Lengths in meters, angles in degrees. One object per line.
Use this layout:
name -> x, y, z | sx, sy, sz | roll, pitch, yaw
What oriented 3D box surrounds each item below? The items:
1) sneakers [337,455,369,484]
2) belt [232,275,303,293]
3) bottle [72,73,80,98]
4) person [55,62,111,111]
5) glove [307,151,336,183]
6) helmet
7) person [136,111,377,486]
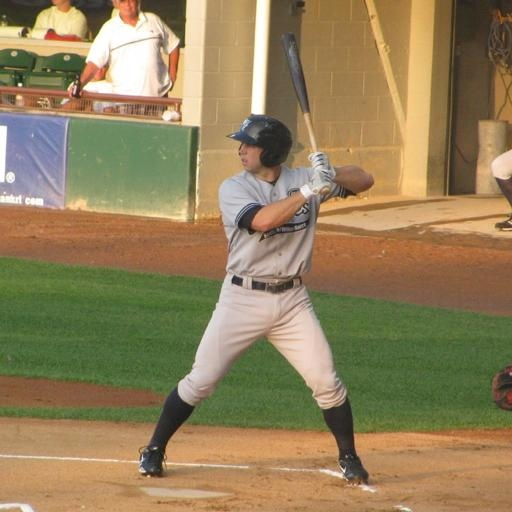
sneakers -> 0.615, 1.363, 8.602 | 0.101, 0.110, 0.242 | -6, 10, -19
belt -> 0.067, 0.173, 8.599 | 0.452, 0.096, 0.115 | 2, 14, -3
bottle -> -2.179, -2.114, 16.561 | 0.097, 0.288, 0.110 | -2, 6, -30
person -> -2.192, -2.174, 16.606 | 0.605, 0.353, 0.811 | -19, 10, 2
glove -> 0.409, -0.576, 8.556 | 0.130, 0.212, 0.081 | -12, 5, 45
helmet -> 0.015, -0.742, 8.584 | 0.395, 0.334, 0.290 | -3, 9, -3
person -> 0.067, 0.260, 8.688 | 1.376, 2.285, 0.764 | 2, 14, 0
